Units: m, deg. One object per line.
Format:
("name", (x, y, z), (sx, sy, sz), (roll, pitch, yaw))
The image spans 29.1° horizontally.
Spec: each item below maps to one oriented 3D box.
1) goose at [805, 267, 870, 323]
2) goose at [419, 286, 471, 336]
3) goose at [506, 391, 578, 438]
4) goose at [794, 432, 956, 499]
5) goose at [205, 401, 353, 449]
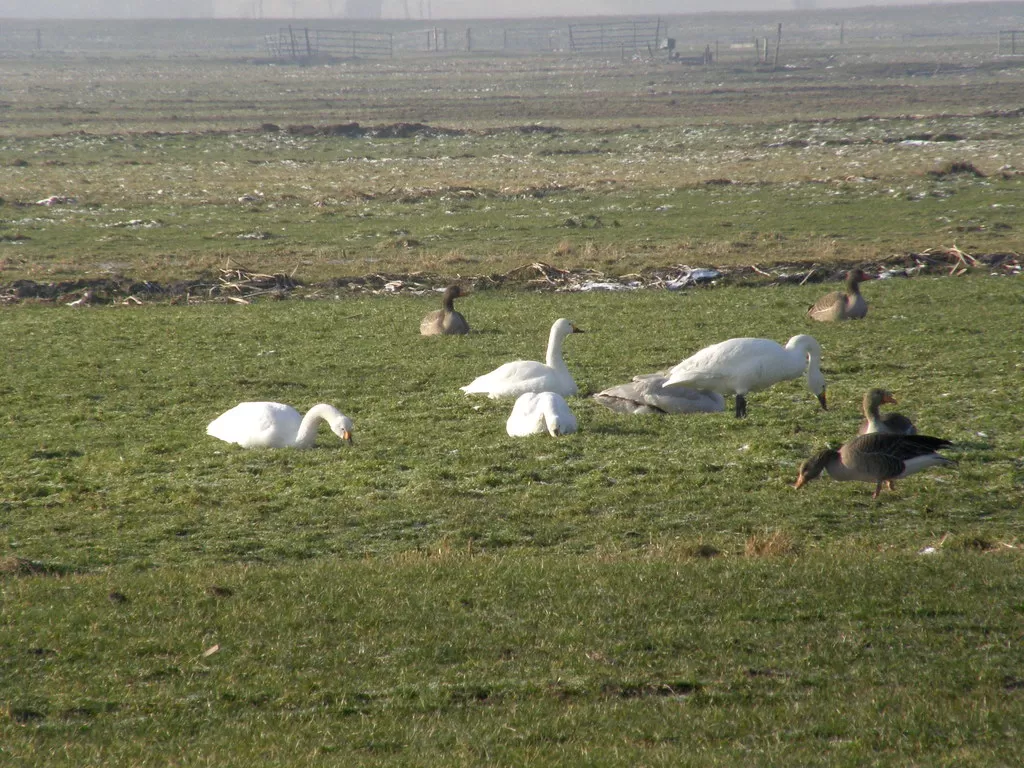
("goose", (9.920, -2.675, 59.895), (1.903, 1.334, 1.218), (-3, 12, -5))
("goose", (-2.131, -2.211, 60.040), (1.245, 1.711, 1.784), (-11, 15, -37))
("goose", (0.722, 0.786, 52.526), (1.048, 0.708, 1.799), (-2, 9, -4))
("goose", (9.052, 1.957, 49.817), (4.135, 1.672, 1.405), (-19, -2, -7))
("goose", (-6.213, 1.089, 52.863), (3.081, 1.248, 1.536), (7, 17, 5))
